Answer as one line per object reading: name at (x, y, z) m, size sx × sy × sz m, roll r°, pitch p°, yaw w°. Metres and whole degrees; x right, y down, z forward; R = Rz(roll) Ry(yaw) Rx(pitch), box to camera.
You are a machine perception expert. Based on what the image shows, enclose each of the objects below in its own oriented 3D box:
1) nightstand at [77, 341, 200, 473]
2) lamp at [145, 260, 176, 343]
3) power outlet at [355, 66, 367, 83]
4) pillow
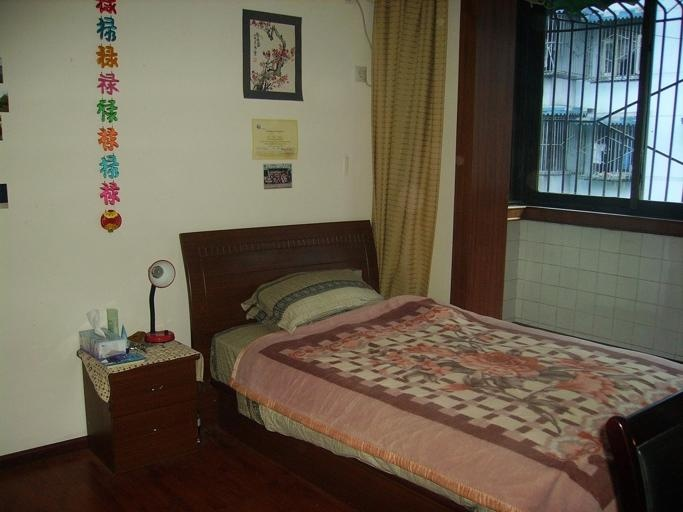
nightstand at (-1.323, 0.899, 3.451) m, size 0.725 × 0.744 × 0.698 m, roll -8°, pitch 12°, yaw -40°
lamp at (-1.255, 0.298, 3.456) m, size 0.225 × 0.567 × 0.358 m, roll -7°, pitch 13°, yaw -22°
power outlet at (0.155, -1.555, 4.345) m, size 0.149 × 0.160 × 0.017 m, roll -3°, pitch 5°, yaw -32°
pillow at (-0.171, 0.281, 3.685) m, size 0.724 × 0.183 × 0.484 m, roll -15°, pitch 26°, yaw -33°
